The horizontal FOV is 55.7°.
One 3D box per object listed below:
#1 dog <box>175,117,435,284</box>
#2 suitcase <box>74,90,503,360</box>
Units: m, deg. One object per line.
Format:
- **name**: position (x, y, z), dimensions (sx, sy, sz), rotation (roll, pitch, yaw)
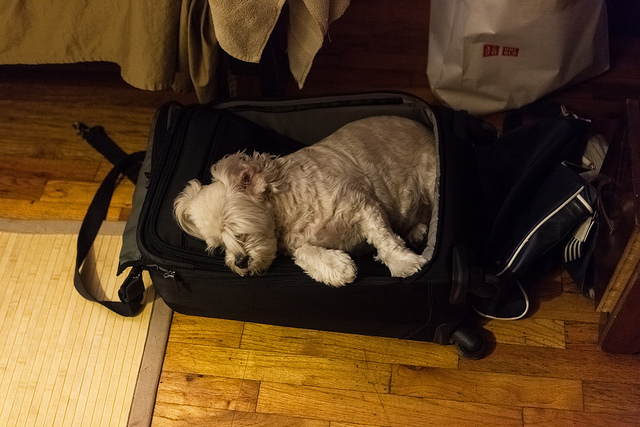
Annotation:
- **dog**: position (0.003, -0.111, 3.032), dimensions (1.043, 0.417, 0.875), rotation (-27, 28, -9)
- **suitcase**: position (-0.263, 0.170, 3.405), dimensions (2.276, 0.696, 1.353), rotation (-1, 58, 7)
